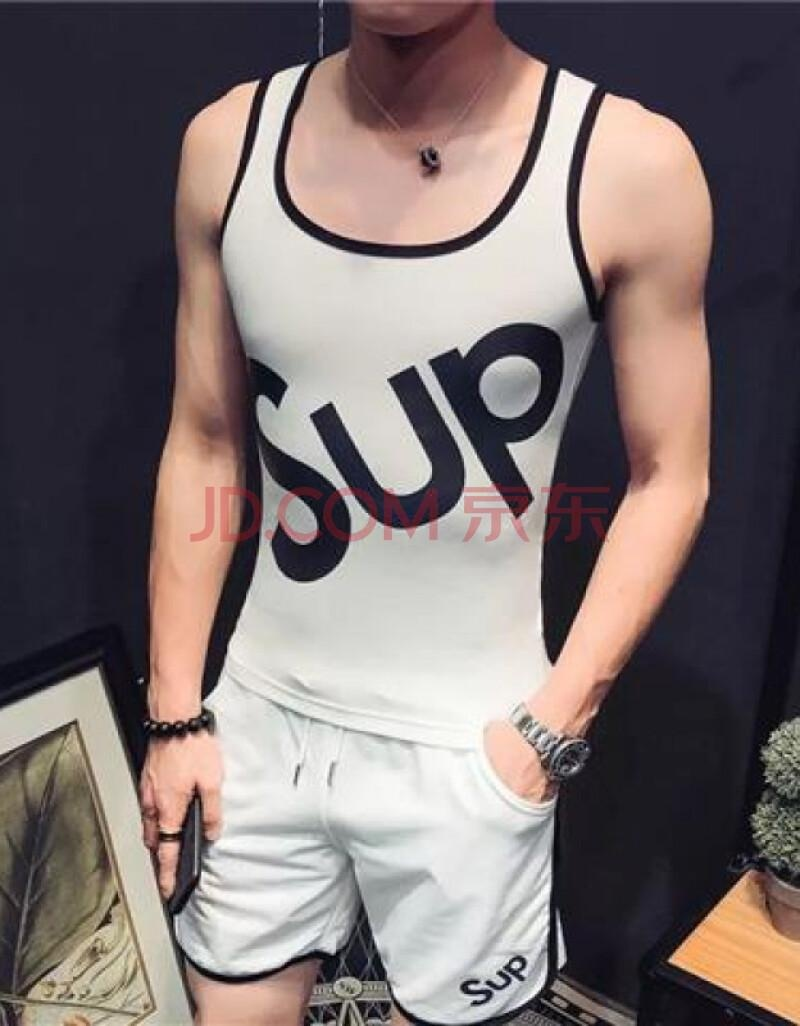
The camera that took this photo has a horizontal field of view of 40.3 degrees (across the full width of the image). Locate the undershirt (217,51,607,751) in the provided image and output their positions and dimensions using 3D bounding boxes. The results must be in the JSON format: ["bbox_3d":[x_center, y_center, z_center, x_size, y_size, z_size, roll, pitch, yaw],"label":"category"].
[{"bbox_3d":[-0.009,-0.110,1.157,0.396,0.601,0.462,7,40,6],"label":"undershirt"}]

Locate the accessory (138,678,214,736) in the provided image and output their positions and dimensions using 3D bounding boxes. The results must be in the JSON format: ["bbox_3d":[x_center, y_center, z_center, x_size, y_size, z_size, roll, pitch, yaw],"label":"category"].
[{"bbox_3d":[-0.259,0.229,1.255,0.054,0.016,0.042,-12,29,-30],"label":"accessory"}]

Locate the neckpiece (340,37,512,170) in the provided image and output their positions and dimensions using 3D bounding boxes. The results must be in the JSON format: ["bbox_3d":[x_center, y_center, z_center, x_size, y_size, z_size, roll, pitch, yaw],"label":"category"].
[{"bbox_3d":[0.035,-0.422,1.130,0.177,0.175,0.078,0,-3,2],"label":"neckpiece"}]
